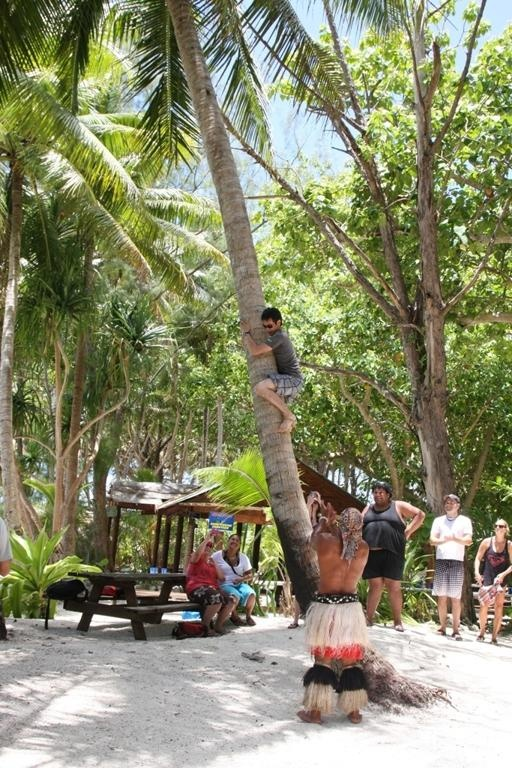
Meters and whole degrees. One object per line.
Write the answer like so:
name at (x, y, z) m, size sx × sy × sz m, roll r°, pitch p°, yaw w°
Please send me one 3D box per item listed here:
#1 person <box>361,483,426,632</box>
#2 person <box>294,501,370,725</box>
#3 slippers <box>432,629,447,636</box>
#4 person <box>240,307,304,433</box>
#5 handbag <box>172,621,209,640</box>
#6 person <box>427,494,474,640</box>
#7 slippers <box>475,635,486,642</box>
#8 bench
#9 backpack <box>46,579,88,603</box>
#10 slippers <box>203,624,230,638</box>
person at (1.547, 1.986, 7.221) m, size 0.631 × 1.648 × 0.695 m, roll 1°, pitch -10°, yaw 11°
person at (0.529, 1.473, 4.115) m, size 0.384 × 1.336 × 0.553 m, roll -3°, pitch -12°, yaw 33°
slippers at (2.301, 3.064, 7.815) m, size 0.086 × 0.070 × 0.173 m, roll 4°, pitch -8°, yaw -4°
person at (0.183, -0.113, 4.828) m, size 0.346 × 0.957 × 0.492 m, roll -6°, pitch -14°, yaw 41°
handbag at (-0.731, 2.738, 7.053) m, size 0.255 × 0.109 × 0.220 m, roll 3°, pitch 5°, yaw 16°
person at (2.433, 2.234, 7.822) m, size 0.379 × 1.697 × 0.611 m, roll 10°, pitch -12°, yaw -34°
slippers at (2.848, 3.202, 7.977) m, size 0.065 × 0.084 × 0.200 m, roll -7°, pitch -23°, yaw 21°
bench at (-1.452, 2.787, 7.553) m, size 0.939 × 0.249 × 0.862 m, roll -10°, pitch -20°, yaw 37°
backpack at (-2.265, 2.472, 7.680) m, size 0.282 × 0.160 × 0.408 m, roll 1°, pitch -10°, yaw -5°
slippers at (-0.460, 2.820, 7.222) m, size 0.363 × 0.163 × 0.115 m, roll -8°, pitch -4°, yaw 21°
